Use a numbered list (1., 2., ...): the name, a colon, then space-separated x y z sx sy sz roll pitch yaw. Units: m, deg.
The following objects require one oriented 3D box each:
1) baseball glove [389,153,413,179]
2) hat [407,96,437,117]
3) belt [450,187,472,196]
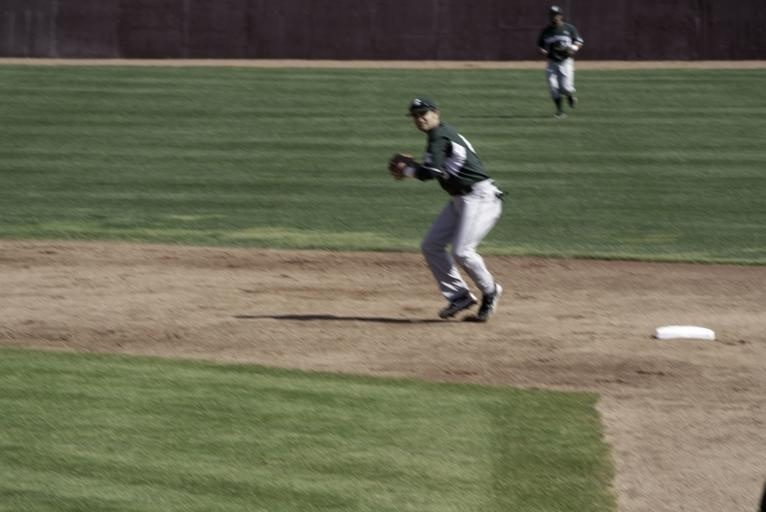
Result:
1. baseball glove: 0.213 -1.162 19.473 0.275 0.329 0.341 -4 10 -23
2. hat: 0.533 -1.958 19.385 0.304 0.160 0.403 -21 -3 38
3. belt: 1.000 -0.850 19.475 0.268 0.115 0.046 3 11 17
